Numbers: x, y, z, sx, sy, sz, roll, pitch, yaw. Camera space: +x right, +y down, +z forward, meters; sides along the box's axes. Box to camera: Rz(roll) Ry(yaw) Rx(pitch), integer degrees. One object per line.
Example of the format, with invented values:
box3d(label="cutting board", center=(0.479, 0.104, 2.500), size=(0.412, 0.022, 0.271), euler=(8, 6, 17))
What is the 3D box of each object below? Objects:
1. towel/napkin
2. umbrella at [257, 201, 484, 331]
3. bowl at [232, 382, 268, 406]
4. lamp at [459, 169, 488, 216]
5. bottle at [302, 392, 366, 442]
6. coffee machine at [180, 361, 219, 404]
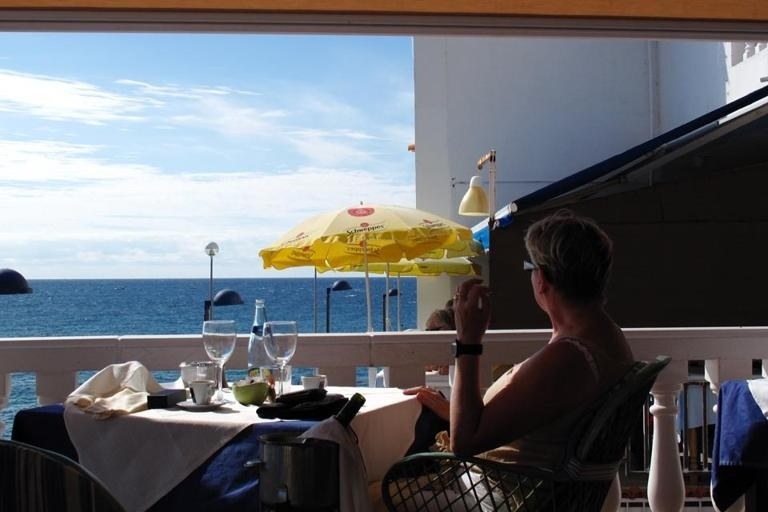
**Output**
box3d(label="towel/napkin", center=(-1.632, 0.816, 5.314), size=(0.304, 0.147, 0.406), euler=(4, 6, 28))
box3d(label="umbrella", center=(-0.197, -0.173, 10.068), size=(1.871, 1.198, 1.955), euler=(-8, 4, -11))
box3d(label="bowl", center=(-0.801, 0.823, 5.241), size=(0.153, 0.096, 0.167), euler=(0, 0, 0))
box3d(label="lamp", center=(1.291, -0.878, 12.197), size=(0.551, 0.590, 0.553), euler=(3, 9, 1))
box3d(label="bottle", center=(-0.200, 0.929, 4.995), size=(0.187, 0.275, 0.234), euler=(-1, -11, -4))
box3d(label="coffee machine", center=(-1.129, 0.773, 5.321), size=(0.194, 0.196, 0.246), euler=(-1, -7, 3))
